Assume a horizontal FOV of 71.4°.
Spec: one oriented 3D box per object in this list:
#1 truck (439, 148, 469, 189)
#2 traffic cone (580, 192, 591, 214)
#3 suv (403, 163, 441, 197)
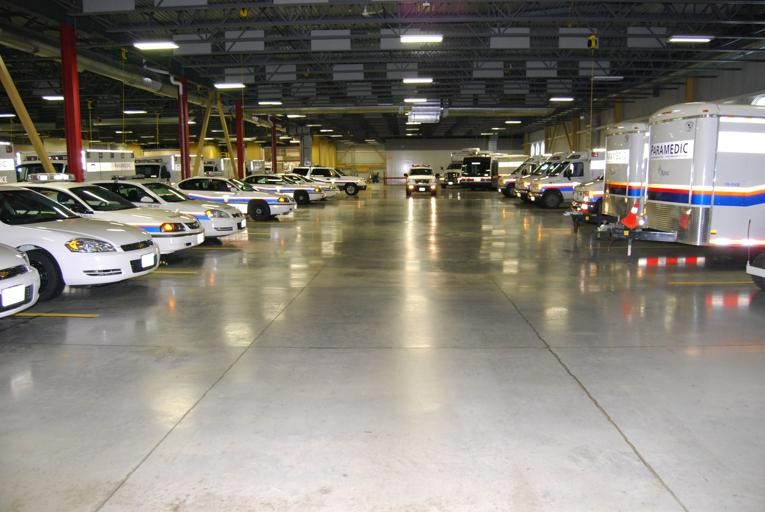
[{"bbox_3d":[6.568,-7.917,49.776,2.489,2.623,5.710,1,7,8],"label":"truck"},{"bbox_3d":[6.884,-1.801,17.829,0.256,0.535,1.160,5,13,21],"label":"traffic cone"},{"bbox_3d":[2.844,-5.574,39.426,2.097,2.110,2.675,3,13,11],"label":"suv"}]
